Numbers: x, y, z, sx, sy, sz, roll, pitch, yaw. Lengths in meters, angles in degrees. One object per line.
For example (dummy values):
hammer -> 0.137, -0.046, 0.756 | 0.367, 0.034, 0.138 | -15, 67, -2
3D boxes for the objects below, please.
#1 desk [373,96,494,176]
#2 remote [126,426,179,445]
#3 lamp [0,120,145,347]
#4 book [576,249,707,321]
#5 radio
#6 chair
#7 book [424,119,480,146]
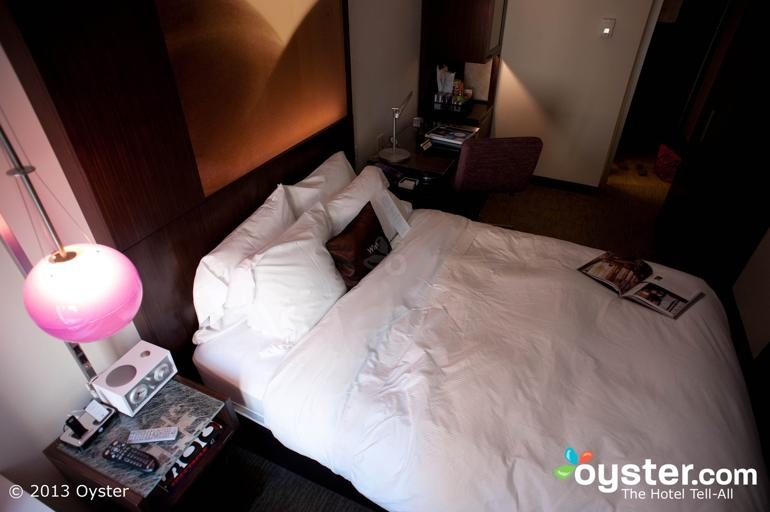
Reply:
desk -> 0.377, -1.019, 4.125 | 0.375, 0.264, 1.097 | 18, 52, 18
remote -> -1.094, 0.839, 2.268 | 0.206, 0.029, 0.091 | 0, 44, -4
lamp -> -1.332, -0.033, 1.936 | 0.481, 0.803, 0.360 | 13, 40, 13
book -> 1.543, 0.154, 2.931 | 0.352, 0.086, 0.628 | -24, 35, -25
radio -> -1.270, 0.678, 2.452 | 0.270, 0.197, 0.397 | 19, 43, 19
chair -> 0.891, -0.732, 3.856 | 0.499, 0.438, 0.542 | -3, 36, -3
book -> 0.607, -1.098, 4.276 | 0.348, 0.087, 0.357 | 15, 36, 22
